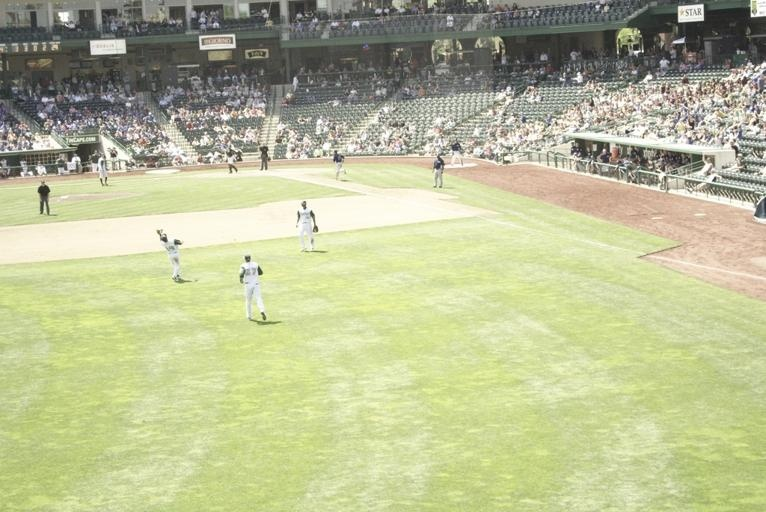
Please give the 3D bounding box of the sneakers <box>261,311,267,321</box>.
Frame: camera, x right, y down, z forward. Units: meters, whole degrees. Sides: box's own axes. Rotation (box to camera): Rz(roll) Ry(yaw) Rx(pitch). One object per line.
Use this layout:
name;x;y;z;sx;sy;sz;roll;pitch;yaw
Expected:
sneakers;-4.493;2.252;42.912;0.159;0.372;0.155;0;51;3
